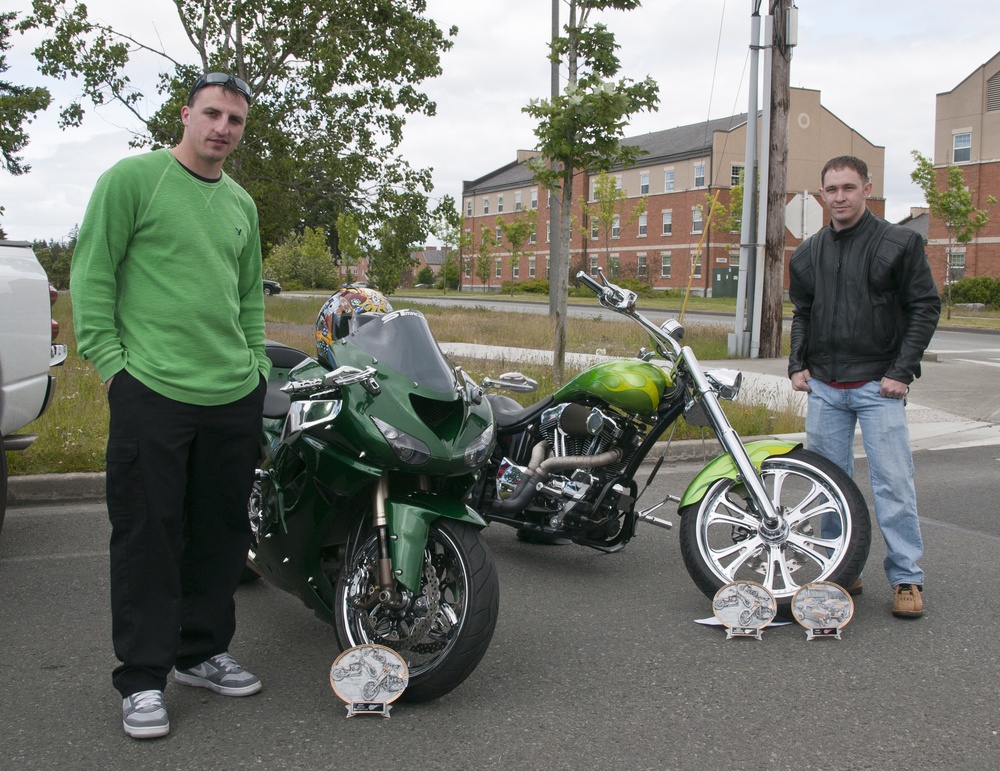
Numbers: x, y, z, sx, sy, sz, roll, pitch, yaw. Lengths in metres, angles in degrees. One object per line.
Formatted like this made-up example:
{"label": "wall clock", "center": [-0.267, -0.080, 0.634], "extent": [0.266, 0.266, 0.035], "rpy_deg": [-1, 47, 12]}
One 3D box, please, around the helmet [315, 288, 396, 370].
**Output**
{"label": "helmet", "center": [-0.732, -0.299, 4.198], "extent": [0.411, 0.423, 0.337], "rpy_deg": [12, 15, 42]}

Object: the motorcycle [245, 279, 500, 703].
{"label": "motorcycle", "center": [-0.617, 0.491, 3.990], "extent": [0.742, 1.883, 1.424], "rpy_deg": [-7, 11, -44]}

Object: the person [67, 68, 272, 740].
{"label": "person", "center": [-1.366, 0.043, 3.580], "extent": [0.782, 2.750, 0.506], "rpy_deg": [-4, 9, -30]}

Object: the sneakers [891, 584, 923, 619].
{"label": "sneakers", "center": [2.318, 1.225, 4.765], "extent": [0.095, 0.119, 0.272], "rpy_deg": [-2, -9, 13]}

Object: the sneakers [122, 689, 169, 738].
{"label": "sneakers", "center": [-1.488, 1.359, 3.486], "extent": [0.197, 0.169, 0.168], "rpy_deg": [-2, 8, -16]}

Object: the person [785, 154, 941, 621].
{"label": "person", "center": [2.124, -0.042, 4.963], "extent": [0.890, 2.609, 0.532], "rpy_deg": [5, 9, 34]}
